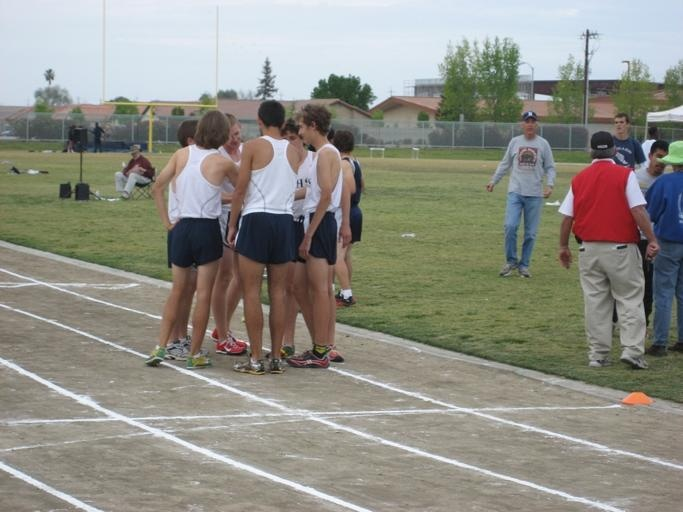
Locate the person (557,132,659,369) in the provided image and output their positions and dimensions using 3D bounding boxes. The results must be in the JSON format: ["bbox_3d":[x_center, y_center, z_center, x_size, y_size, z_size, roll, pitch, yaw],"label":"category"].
[{"bbox_3d":[2.868,-0.051,13.808,0.721,2.407,1.120,-10,19,-35],"label":"person"}]

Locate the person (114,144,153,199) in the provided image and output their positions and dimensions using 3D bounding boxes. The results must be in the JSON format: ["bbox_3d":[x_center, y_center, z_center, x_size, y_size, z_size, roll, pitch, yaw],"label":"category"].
[{"bbox_3d":[-4.694,-1.850,28.784,0.851,1.010,0.928,3,7,11],"label":"person"}]

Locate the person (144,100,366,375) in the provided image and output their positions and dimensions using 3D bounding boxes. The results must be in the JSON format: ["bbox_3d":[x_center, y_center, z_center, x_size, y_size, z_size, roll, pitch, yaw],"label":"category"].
[{"bbox_3d":[-1.000,-0.193,13.221,1.477,2.701,0.741,1,16,-2],"label":"person"}]

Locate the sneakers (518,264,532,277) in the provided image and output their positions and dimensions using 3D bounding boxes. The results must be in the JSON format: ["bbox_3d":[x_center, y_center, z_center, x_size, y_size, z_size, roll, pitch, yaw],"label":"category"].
[{"bbox_3d":[2.577,0.196,18.123,0.168,0.182,0.317,3,15,7],"label":"sneakers"}]

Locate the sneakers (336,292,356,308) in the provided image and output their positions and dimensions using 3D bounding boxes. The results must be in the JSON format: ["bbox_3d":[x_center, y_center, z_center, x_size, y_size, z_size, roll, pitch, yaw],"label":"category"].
[{"bbox_3d":[0.044,0.549,16.058,0.297,0.128,0.108,3,9,16],"label":"sneakers"}]

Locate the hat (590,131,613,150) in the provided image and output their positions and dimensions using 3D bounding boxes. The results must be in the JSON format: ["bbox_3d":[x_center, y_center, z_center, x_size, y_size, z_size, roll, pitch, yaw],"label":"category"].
[{"bbox_3d":[2.808,-1.227,13.906,0.198,0.143,0.250,4,27,16],"label":"hat"}]
